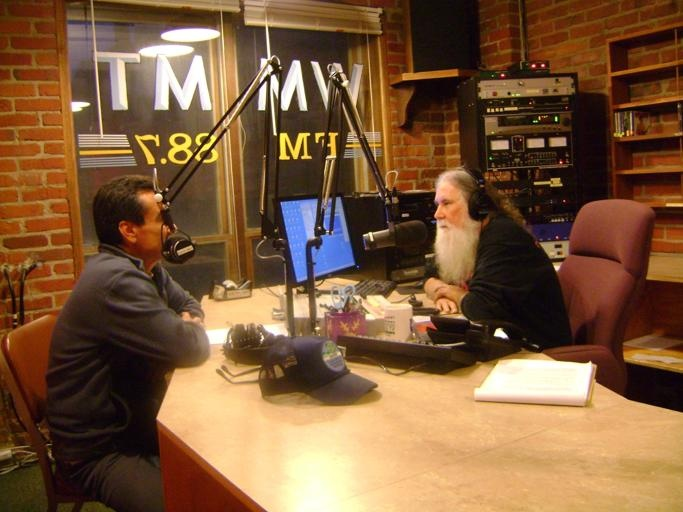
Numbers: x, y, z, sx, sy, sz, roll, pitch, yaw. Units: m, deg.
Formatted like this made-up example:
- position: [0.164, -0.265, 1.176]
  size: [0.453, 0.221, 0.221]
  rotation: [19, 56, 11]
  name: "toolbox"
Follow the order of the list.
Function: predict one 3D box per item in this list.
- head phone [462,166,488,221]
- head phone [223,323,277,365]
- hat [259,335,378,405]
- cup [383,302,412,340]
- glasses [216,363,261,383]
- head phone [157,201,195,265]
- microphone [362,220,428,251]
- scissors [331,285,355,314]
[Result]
- position: [0.705, -0.315, 2.772]
  size: [0.096, 0.227, 0.243]
  rotation: [-4, 5, 8]
  name: "head phone"
- position: [-0.326, 0.302, 1.861]
  size: [0.205, 0.142, 0.187]
  rotation: [-6, -6, 0]
  name: "head phone"
- position: [-0.063, 0.311, 1.624]
  size: [0.282, 0.117, 0.184]
  rotation: [5, 8, 20]
  name: "hat"
- position: [0.210, 0.243, 2.066]
  size: [0.100, 0.113, 0.128]
  rotation: [-5, 7, -38]
  name: "cup"
- position: [-0.342, 0.392, 1.782]
  size: [0.098, 0.034, 0.070]
  rotation: [-2, 8, -8]
  name: "glasses"
- position: [-0.641, -0.090, 2.110]
  size: [0.141, 0.238, 0.082]
  rotation: [-26, 13, -18]
  name: "head phone"
- position: [0.204, -0.067, 2.007]
  size: [0.233, 0.098, 0.105]
  rotation: [-10, 16, -10]
  name: "microphone"
- position: [0.007, 0.157, 1.997]
  size: [0.028, 0.104, 0.066]
  rotation: [8, -2, -38]
  name: "scissors"
